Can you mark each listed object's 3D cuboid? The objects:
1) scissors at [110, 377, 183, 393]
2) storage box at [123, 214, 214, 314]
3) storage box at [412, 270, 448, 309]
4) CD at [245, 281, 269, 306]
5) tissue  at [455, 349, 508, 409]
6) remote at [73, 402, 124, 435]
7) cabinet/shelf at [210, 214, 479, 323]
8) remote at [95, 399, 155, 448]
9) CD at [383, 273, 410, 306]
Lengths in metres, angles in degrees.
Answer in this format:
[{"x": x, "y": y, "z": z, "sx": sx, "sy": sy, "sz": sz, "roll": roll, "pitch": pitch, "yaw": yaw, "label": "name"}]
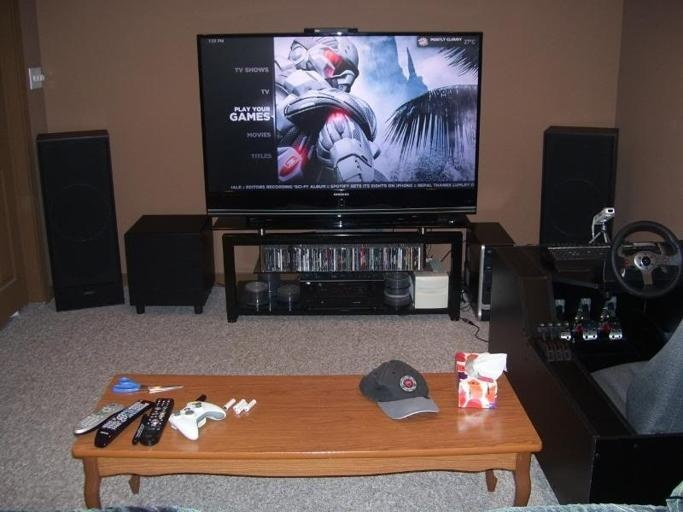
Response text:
[{"x": -0.855, "y": 0.577, "z": 2.403, "sx": 0.296, "sy": 0.044, "sz": 0.109, "roll": 0, "pitch": 8, "yaw": -8, "label": "scissors"}, {"x": -1.344, "y": 0.073, "z": 4.336, "sx": 0.604, "sy": 0.739, "sz": 0.437, "roll": -2, "pitch": 9, "yaw": -3, "label": "storage box"}, {"x": 0.684, "y": 0.264, "z": 4.242, "sx": 0.248, "sy": 0.255, "sz": 0.268, "roll": 0, "pitch": 14, "yaw": 0, "label": "storage box"}, {"x": -0.651, "y": 0.289, "z": 4.197, "sx": 0.162, "sy": 0.129, "sz": 0.169, "roll": -1, "pitch": 19, "yaw": -6, "label": "CD"}, {"x": 0.560, "y": 0.502, "z": 2.276, "sx": 0.203, "sy": 0.233, "sz": 0.223, "roll": 1, "pitch": -3, "yaw": 3, "label": "tissue "}, {"x": -0.968, "y": 0.636, "z": 2.171, "sx": 0.072, "sy": 0.029, "sz": 0.164, "roll": 2, "pitch": 12, "yaw": 24, "label": "remote"}, {"x": 0.003, "y": 0.090, "z": 4.194, "sx": 1.885, "sy": 0.833, "sz": 0.373, "roll": -2, "pitch": 9, "yaw": 0, "label": "cabinet/shelf"}, {"x": -0.864, "y": 0.653, "z": 2.152, "sx": 0.065, "sy": 0.041, "sz": 0.229, "roll": 5, "pitch": 19, "yaw": 11, "label": "remote"}, {"x": 0.425, "y": 0.221, "z": 4.242, "sx": 0.222, "sy": 0.251, "sz": 0.228, "roll": -10, "pitch": 17, "yaw": -31, "label": "CD"}]
